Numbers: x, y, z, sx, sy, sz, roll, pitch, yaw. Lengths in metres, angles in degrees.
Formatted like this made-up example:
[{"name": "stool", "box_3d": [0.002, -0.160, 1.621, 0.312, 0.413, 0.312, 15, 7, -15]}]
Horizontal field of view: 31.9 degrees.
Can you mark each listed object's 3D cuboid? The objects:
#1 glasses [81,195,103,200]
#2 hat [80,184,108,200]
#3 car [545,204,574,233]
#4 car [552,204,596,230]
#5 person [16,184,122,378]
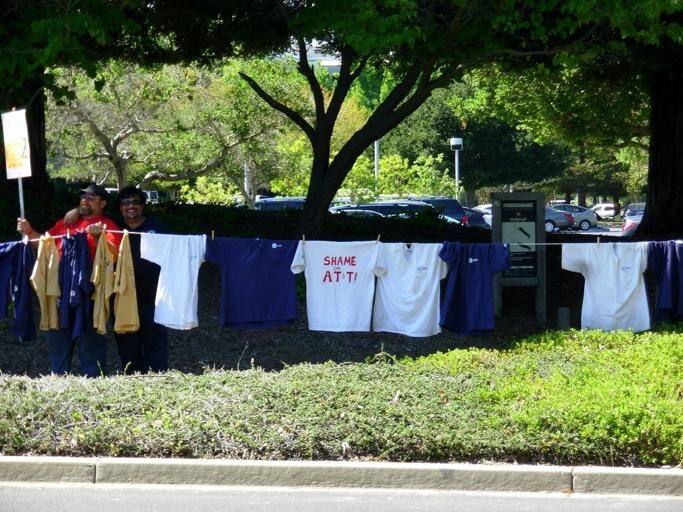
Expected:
[{"name": "glasses", "box_3d": [-3.389, -0.784, 16.158, 0.141, 0.040, 0.087, 13, -5, -29]}, {"name": "hat", "box_3d": [-3.365, -0.847, 16.199, 0.302, 0.140, 0.209, 18, -5, -37]}, {"name": "car", "box_3d": [8.572, -1.453, 47.259, 0.871, 0.919, 2.560, 0, 1, 25]}, {"name": "car", "box_3d": [9.620, -1.594, 48.395, 1.963, 0.614, 0.875, 5, 0, -11]}, {"name": "person", "box_3d": [-3.620, 0.335, 16.186, 1.281, 2.616, 0.701, -1, 1, 0]}]
